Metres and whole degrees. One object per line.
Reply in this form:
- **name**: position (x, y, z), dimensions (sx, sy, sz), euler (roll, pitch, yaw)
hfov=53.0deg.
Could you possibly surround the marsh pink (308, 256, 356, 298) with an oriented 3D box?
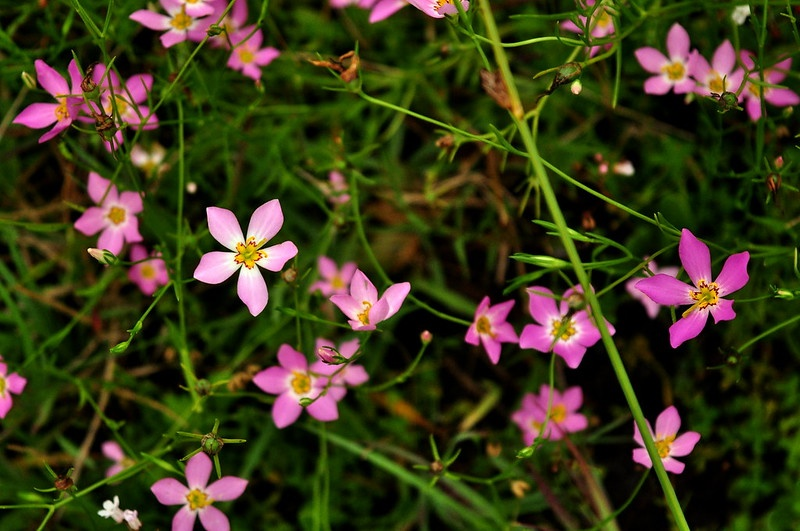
- **marsh pink**: position (-0.315, 0.070, 3.823), dimensions (0.184, 0.047, 0.216), euler (-25, 95, -21)
